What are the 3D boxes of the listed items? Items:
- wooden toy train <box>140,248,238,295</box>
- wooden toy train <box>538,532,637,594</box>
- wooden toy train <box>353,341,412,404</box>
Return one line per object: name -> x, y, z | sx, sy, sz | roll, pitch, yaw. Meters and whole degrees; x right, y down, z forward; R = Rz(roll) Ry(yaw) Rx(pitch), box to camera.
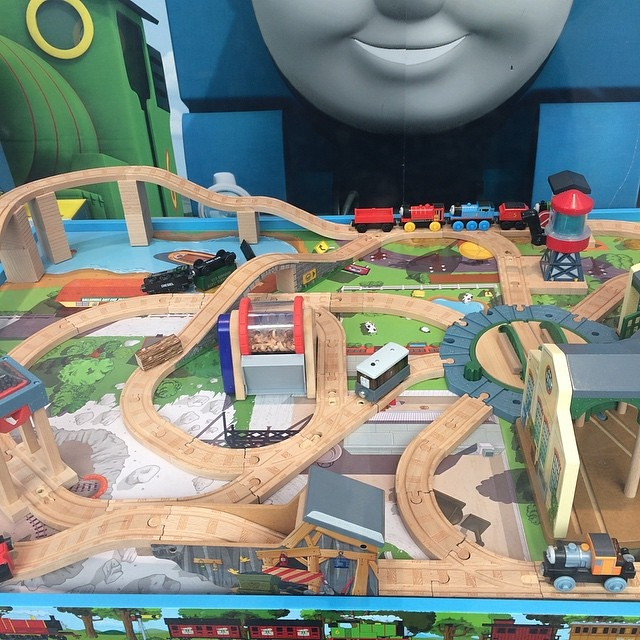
wooden toy train -> -2.235, -0.779, 9.349 | 1.759, 0.441, 0.634 | -14, 32, -12
wooden toy train -> 2.058, 1.971, 4.355 | 0.788, 0.337, 0.437 | 1, 44, 6
wooden toy train -> 0.770, 0.655, 6.650 | 0.922, 0.442, 0.464 | -30, 43, -28
